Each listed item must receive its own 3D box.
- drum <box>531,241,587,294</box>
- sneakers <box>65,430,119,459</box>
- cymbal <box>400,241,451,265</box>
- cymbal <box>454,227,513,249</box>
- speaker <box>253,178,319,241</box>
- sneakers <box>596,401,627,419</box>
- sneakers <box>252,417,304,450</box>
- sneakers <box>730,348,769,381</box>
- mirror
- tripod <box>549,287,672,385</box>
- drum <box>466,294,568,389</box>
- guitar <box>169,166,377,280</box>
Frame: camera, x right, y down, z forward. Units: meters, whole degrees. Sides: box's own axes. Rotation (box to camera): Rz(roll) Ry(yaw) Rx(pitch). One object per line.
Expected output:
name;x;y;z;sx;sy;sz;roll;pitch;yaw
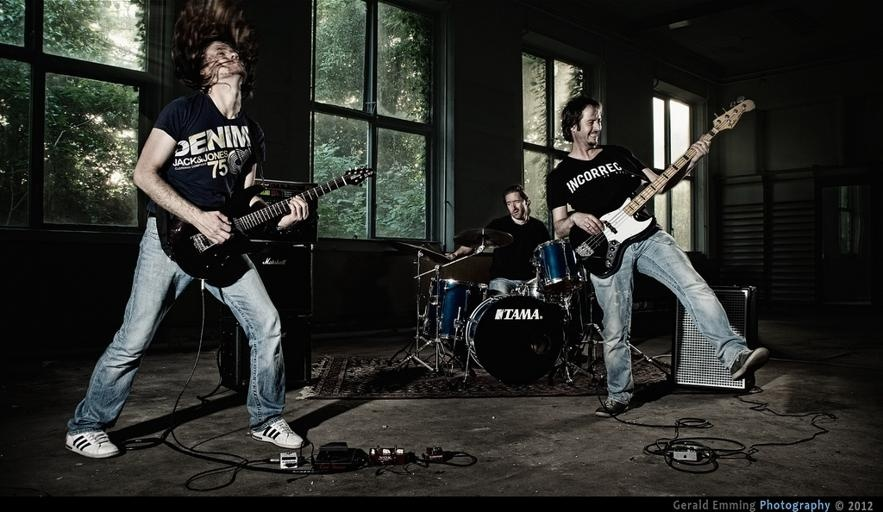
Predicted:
drum;1.082;0.118;6.664;0.533;0.485;0.501;-10;-34;-7
sneakers;-2.643;1.437;5.074;0.469;0.184;0.168;0;-6;15
cymbal;-0.130;-0.027;6.997;0.338;0.076;0.330;25;-11;-32
cymbal;0.459;-0.184;7.112;0.599;0.272;0.344;4;11;18
speaker;-1.407;-0.411;6.205;0.814;0.540;0.741;-1;1;-5
sneakers;1.482;1.345;5.791;0.341;0.106;0.128;-1;-22;1
sneakers;-1.276;1.405;5.283;0.476;0.196;0.184;2;-5;21
sneakers;2.482;0.862;5.380;0.269;0.270;0.180;-1;11;-4
mirror;9.151;-0.333;14.998;1.265;3.038;4.686;6;12;29
tripod;1.748;0.882;7.250;1.220;0.865;1.160;-7;-2;-6
drum;0.748;0.829;6.432;0.770;0.719;0.401;19;-1;-13
guitar;-1.392;-0.317;5.316;1.670;0.622;0.160;-28;13;-24
